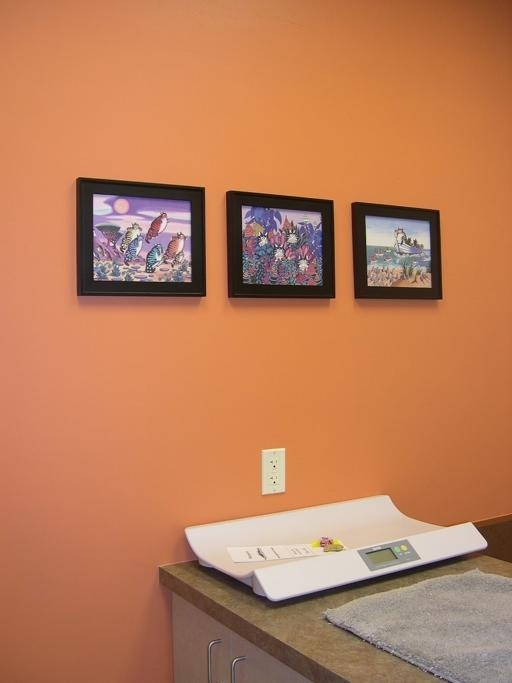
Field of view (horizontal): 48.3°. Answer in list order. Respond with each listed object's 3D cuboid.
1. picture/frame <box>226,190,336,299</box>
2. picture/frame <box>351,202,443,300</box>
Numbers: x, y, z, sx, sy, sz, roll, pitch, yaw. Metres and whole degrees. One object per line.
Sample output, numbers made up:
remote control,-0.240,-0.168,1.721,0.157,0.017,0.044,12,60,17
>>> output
picture/frame,0.051,-0.239,1.424,0.313,0.240,0.024,1,-4,-32
picture/frame,0.388,-0.254,1.623,0.318,0.237,0.022,2,-7,-31
